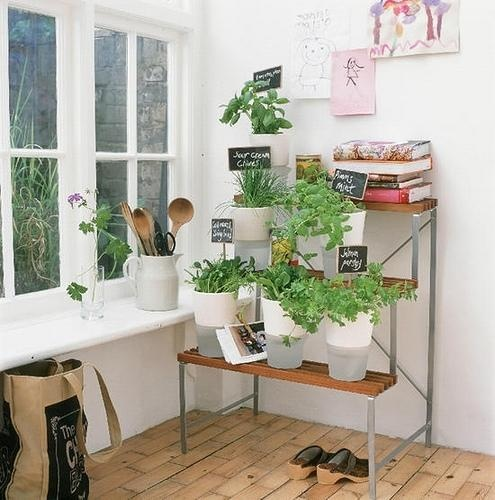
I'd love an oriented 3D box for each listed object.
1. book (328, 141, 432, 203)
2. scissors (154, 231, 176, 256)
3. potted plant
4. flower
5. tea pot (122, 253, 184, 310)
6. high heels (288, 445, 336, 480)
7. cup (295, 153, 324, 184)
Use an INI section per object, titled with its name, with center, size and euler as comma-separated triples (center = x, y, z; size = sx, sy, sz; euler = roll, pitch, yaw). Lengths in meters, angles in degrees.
[book]
center = 0.511, -0.292, 1.800
size = 0.307, 0.175, 0.302
euler = 6, 13, 37
[scissors]
center = -0.351, -0.026, 1.965
size = 0.016, 0.110, 0.103
euler = 5, 9, 44
[potted plant]
center = 0.210, -0.135, 1.750
size = 0.556, 1.129, 0.804
euler = -2, 2, -41
[flower]
center = -0.630, -0.009, 1.984
size = 0.257, 0.470, 0.558
euler = -1, 1, -14
[tea pot]
center = -0.400, 0.129, 2.013
size = 0.274, 0.224, 0.192
euler = -2, 8, -14
[high heels]
center = 0.233, 0.800, 1.780
size = 0.075, 0.065, 0.176
euler = 3, 7, 37
[cup]
center = 0.261, -0.354, 1.994
size = 0.117, 0.117, 0.115
euler = 0, 10, 0
